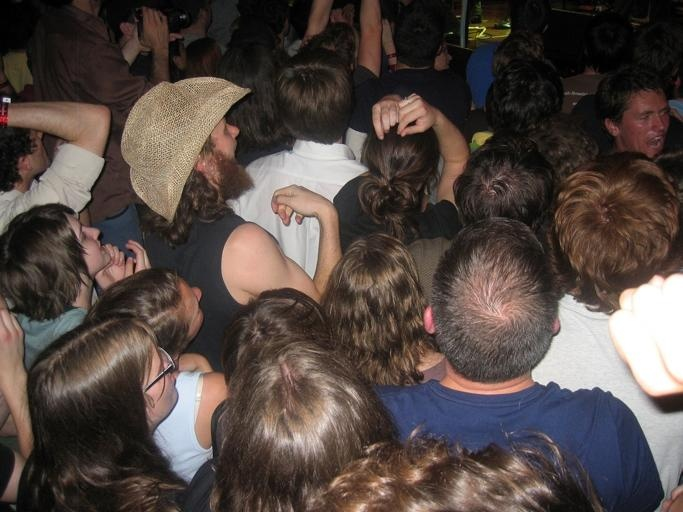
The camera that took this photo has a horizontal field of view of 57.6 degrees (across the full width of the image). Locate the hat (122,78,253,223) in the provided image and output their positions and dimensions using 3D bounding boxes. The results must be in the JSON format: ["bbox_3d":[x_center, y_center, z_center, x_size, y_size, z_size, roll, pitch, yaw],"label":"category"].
[{"bbox_3d":[-0.888,-0.622,3.231,0.249,0.771,0.591,26,3,-38],"label":"hat"}]

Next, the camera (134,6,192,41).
[{"bbox_3d":[-1.402,-1.836,4.907,0.343,0.150,0.355,-11,40,-12],"label":"camera"}]

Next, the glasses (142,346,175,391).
[{"bbox_3d":[-0.816,0.508,2.773,0.139,0.039,0.137,-44,23,-3],"label":"glasses"}]
